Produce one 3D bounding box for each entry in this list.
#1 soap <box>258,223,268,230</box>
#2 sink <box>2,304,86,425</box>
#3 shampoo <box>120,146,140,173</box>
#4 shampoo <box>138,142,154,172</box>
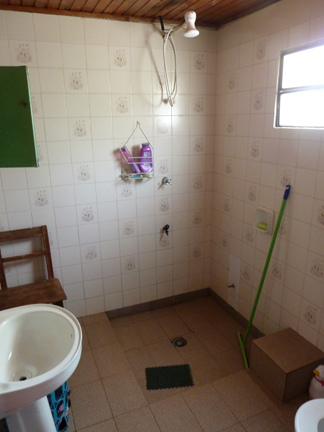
[{"bbox_3d":[0.746,0.071,2.237,0.047,0.040,0.096,-1,11,-8],"label":"soap"},{"bbox_3d":[-0.483,0.575,1.219,0.312,0.242,0.531,-3,11,-18],"label":"sink"},{"bbox_3d":[-0.255,-0.450,2.442,0.154,0.212,0.114,-2,10,-13],"label":"shampoo"},{"bbox_3d":[-0.130,-0.482,2.482,0.117,0.237,0.087,-2,9,-16],"label":"shampoo"}]
